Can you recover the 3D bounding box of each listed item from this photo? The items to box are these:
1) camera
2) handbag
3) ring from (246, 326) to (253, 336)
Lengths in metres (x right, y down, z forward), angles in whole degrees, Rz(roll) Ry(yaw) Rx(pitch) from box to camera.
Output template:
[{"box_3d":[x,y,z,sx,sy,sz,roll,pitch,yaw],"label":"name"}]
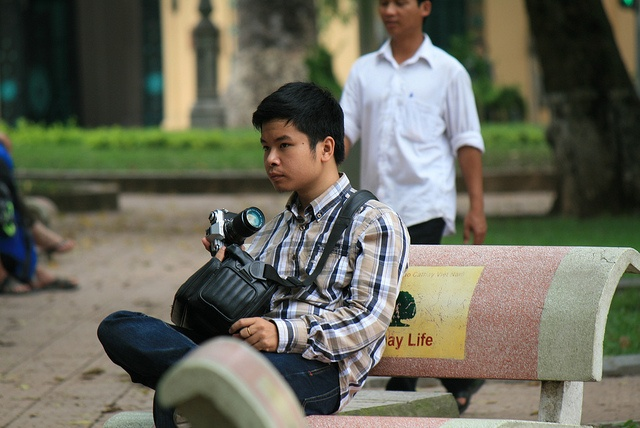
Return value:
[{"box_3d":[-0.533,0.080,7.607,0.386,0.225,0.335,-18,-3,22],"label":"camera"},{"box_3d":[-0.609,0.452,7.544,0.579,0.604,0.445,23,7,-12],"label":"handbag"},{"box_3d":[-0.430,0.712,7.237,0.038,0.056,0.014,-1,10,14],"label":"ring"}]
